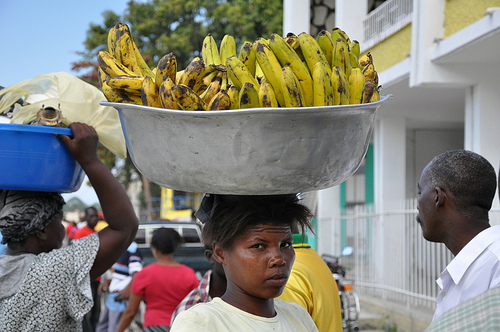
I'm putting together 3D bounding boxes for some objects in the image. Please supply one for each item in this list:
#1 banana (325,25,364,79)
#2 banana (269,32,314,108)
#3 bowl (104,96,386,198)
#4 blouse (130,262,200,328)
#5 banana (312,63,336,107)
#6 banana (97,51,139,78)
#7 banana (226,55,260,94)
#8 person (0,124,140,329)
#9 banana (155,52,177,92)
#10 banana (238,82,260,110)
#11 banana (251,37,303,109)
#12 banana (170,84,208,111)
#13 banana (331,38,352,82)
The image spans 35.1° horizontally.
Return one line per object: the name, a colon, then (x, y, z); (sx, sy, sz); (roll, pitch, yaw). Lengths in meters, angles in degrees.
banana: (0.725, -0.802, 6.000); (0.154, 0.227, 0.623); (-2, -13, 11)
banana: (0.287, -0.657, 5.593); (0.130, 0.589, 0.202); (-15, -25, -46)
bowl: (-0.032, -0.120, 5.524); (1.115, 0.366, 1.042); (-2, -5, 0)
blouse: (-0.889, 1.333, 8.887); (0.715, 0.744, 1.011); (6, 15, 14)
banana: (0.537, -0.659, 5.719); (0.148, 0.166, 0.518); (-16, 5, 19)
banana: (-0.968, -0.732, 5.805); (0.237, 0.221, 0.232); (7, -5, -34)
banana: (-0.078, -0.657, 5.665); (0.134, 0.402, 0.110); (-15, -37, -50)
person: (-1.439, 0.470, 6.131); (1.061, 1.599, 0.425); (3, -4, 12)
banana: (-0.594, -0.667, 5.674); (0.132, 0.269, 0.117); (-11, 15, -40)
banana: (-0.013, -0.478, 5.507); (0.089, 0.253, 0.171); (-5, 10, -4)
banana: (0.185, -0.639, 5.581); (0.119, 0.536, 0.180); (-30, -10, 2)
banana: (-0.426, -0.466, 5.544); (0.286, 0.096, 0.127); (37, -53, -14)
banana: (0.661, -0.768, 5.728); (0.118, 0.292, 0.133); (0, -5, 8)
